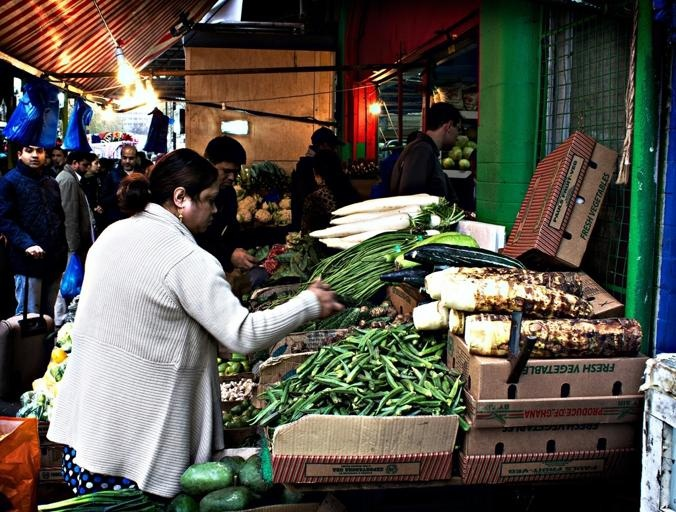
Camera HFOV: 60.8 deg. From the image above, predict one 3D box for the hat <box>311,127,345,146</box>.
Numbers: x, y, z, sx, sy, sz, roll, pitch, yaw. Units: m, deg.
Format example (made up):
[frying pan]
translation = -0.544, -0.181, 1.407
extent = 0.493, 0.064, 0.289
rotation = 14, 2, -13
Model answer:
[hat]
translation = -0.132, -1.308, 6.369
extent = 0.302, 0.182, 0.227
rotation = -3, 10, -24

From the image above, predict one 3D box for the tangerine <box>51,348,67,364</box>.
[tangerine]
translation = -2.090, 0.725, 4.294
extent = 0.117, 0.102, 0.102
rotation = -15, 50, -39
